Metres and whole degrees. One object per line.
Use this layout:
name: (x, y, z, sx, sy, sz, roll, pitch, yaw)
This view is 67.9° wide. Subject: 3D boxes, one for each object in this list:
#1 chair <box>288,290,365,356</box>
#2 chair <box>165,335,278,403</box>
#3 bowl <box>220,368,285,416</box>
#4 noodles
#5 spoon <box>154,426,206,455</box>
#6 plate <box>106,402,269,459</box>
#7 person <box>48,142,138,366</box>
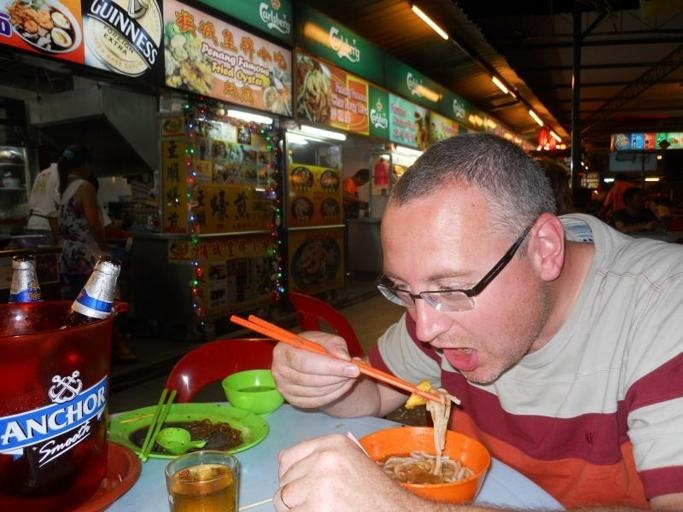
chair: (-0.116, 0.394, 3.351, 0.400, 0.469, 0.417, 3, 5, -12)
chair: (-0.600, 0.512, 2.534, 0.547, 0.323, 0.493, 8, 7, 43)
bowl: (-0.364, 0.547, 2.128, 0.217, 0.161, 0.269, 0, 1, -10)
noodles: (0.288, 0.591, 1.683, 0.189, 0.216, 0.179, 1, 5, -30)
spoon: (-0.561, 0.653, 1.788, 0.116, 0.040, 0.092, 8, 5, -9)
plate: (-0.560, 0.595, 1.896, 0.410, 0.140, 0.331, 0, 4, -36)
person: (-2.538, -0.033, 5.147, 0.506, 2.093, 0.556, 12, 17, 42)
